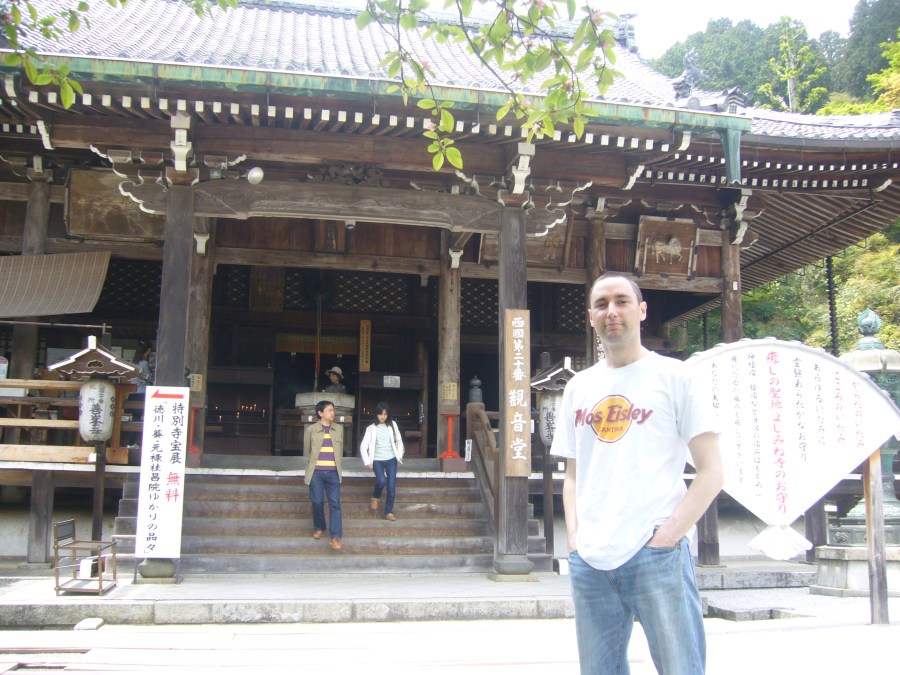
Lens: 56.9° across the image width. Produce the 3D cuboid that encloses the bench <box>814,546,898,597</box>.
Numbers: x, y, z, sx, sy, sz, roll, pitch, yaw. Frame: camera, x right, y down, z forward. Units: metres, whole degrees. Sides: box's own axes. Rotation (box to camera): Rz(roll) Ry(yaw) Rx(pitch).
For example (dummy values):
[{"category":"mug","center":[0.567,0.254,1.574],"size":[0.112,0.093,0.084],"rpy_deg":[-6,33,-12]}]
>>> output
[{"category":"bench","center":[4.543,2.641,9.383],"size":[0.680,0.342,0.677],"rpy_deg":[5,-9,-28]}]

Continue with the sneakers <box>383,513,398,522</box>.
[{"category":"sneakers","center":[-0.811,2.444,11.290],"size":[0.067,0.086,0.198],"rpy_deg":[6,-25,-24]}]

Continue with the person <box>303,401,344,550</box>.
[{"category":"person","center":[-1.669,1.794,10.843],"size":[0.523,1.898,0.414],"rpy_deg":[0,-9,1]}]

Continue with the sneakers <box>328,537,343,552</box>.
[{"category":"sneakers","center":[-1.472,2.650,10.614],"size":[0.086,0.130,0.278],"rpy_deg":[-21,-24,-24]}]

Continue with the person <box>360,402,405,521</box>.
[{"category":"person","center":[-0.954,1.721,11.568],"size":[0.526,1.581,0.792],"rpy_deg":[1,-9,-3]}]
